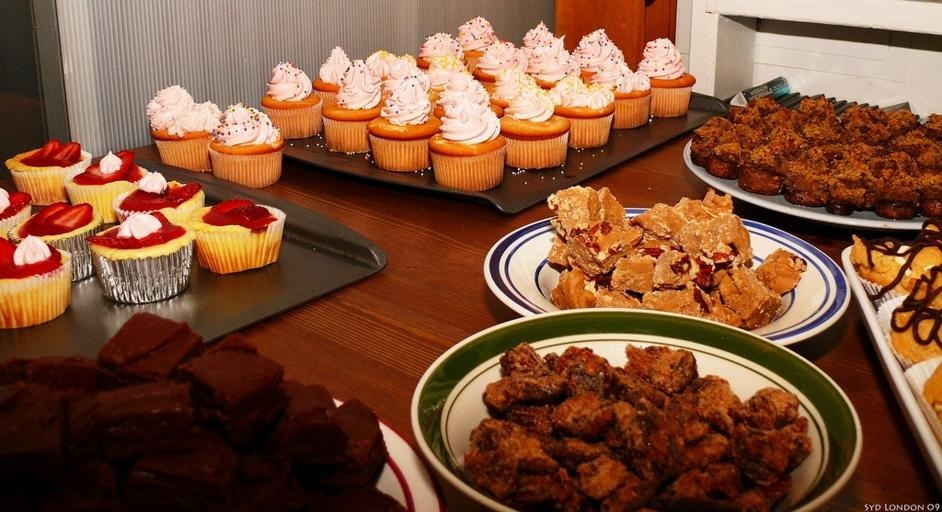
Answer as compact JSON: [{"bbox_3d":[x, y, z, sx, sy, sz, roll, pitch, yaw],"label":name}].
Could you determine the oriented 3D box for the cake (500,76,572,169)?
[{"bbox_3d":[0.208,-0.520,2.334,0.311,0.292,0.315,-2,19,-3],"label":"cake"}]

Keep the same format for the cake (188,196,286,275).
[{"bbox_3d":[-0.676,-0.059,1.706,0.237,0.155,0.231,3,12,6],"label":"cake"}]

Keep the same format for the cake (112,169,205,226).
[{"bbox_3d":[-0.964,-0.176,1.821,0.223,0.134,0.185,7,34,17],"label":"cake"}]

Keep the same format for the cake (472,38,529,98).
[{"bbox_3d":[0.126,-0.890,2.830,0.189,0.172,0.183,16,31,13],"label":"cake"}]

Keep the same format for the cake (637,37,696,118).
[{"bbox_3d":[0.868,-0.870,2.846,0.353,0.382,0.363,-4,19,2],"label":"cake"}]

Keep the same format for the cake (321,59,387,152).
[{"bbox_3d":[-0.470,-0.618,2.397,0.271,0.353,0.286,13,24,22],"label":"cake"}]

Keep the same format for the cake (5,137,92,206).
[{"bbox_3d":[-1.461,-0.301,2.108,0.254,0.178,0.272,5,17,17],"label":"cake"}]

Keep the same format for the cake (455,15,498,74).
[{"bbox_3d":[0.042,-1.115,3.091,0.233,0.272,0.208,-37,43,-22],"label":"cake"}]

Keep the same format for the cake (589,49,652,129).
[{"bbox_3d":[0.656,-0.772,2.719,0.275,0.283,0.348,-6,22,-1],"label":"cake"}]

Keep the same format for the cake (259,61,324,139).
[{"bbox_3d":[-0.739,-0.654,2.501,0.239,0.277,0.264,11,28,34],"label":"cake"}]

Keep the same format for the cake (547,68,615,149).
[{"bbox_3d":[0.443,-0.589,2.465,0.320,0.226,0.259,1,22,8],"label":"cake"}]

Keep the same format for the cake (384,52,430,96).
[{"bbox_3d":[-0.287,-0.799,2.519,0.181,0.097,0.172,-15,12,-6],"label":"cake"}]

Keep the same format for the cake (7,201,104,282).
[{"bbox_3d":[-1.297,-0.029,1.745,0.254,0.208,0.240,3,11,37],"label":"cake"}]

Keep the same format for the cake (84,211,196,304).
[{"bbox_3d":[-0.935,-0.013,1.673,0.277,0.219,0.263,0,21,-11],"label":"cake"}]

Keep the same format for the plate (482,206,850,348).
[{"bbox_3d":[0.515,0.046,1.368,0.512,0.115,0.493,-8,27,-6],"label":"plate"}]

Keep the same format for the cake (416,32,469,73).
[{"bbox_3d":[-0.144,-1.018,2.908,0.272,0.153,0.269,16,40,21],"label":"cake"}]

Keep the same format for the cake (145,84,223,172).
[{"bbox_3d":[-1.085,-0.487,2.270,0.274,0.286,0.253,4,23,5],"label":"cake"}]

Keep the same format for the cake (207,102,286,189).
[{"bbox_3d":[-0.820,-0.424,2.204,0.299,0.280,0.290,1,24,-9],"label":"cake"}]

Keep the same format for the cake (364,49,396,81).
[{"bbox_3d":[-0.413,-0.857,2.661,0.161,0.090,0.168,-7,50,-6],"label":"cake"}]
